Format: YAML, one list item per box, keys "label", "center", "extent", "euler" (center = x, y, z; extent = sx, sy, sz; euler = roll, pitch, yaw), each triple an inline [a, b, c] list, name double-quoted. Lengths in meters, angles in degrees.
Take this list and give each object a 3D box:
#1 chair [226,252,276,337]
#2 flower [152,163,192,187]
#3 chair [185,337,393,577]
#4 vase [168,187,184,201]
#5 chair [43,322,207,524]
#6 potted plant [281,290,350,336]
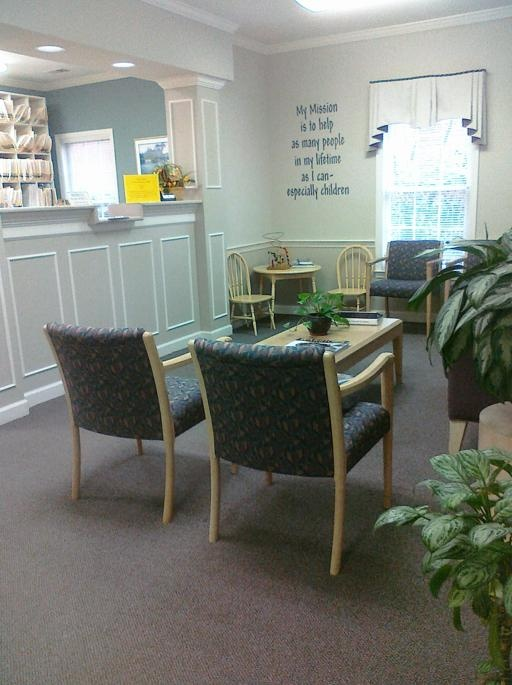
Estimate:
- label: "chair"
  center: [-0.061, -0.520, 5.643]
  extent: [0.527, 0.757, 0.514]
  euler: [-2, 15, -7]
- label: "flower"
  center: [-0.789, -1.566, 4.934]
  extent: [0.300, 0.216, 0.152]
  euler: [-3, 11, -4]
- label: "chair"
  center: [0.059, 0.300, 2.069]
  extent: [0.682, 0.869, 0.828]
  euler: [2, 9, 26]
- label: "vase"
  center: [-0.753, -1.384, 4.909]
  extent: [0.115, 0.100, 0.119]
  euler: [9, 26, 16]
- label: "chair"
  center: [-0.564, 0.300, 2.246]
  extent: [0.575, 0.816, 0.482]
  euler: [1, 12, 18]
- label: "potted plant"
  center: [0.424, -0.198, 3.303]
  extent: [0.389, 0.277, 0.299]
  euler: [-13, 15, -43]
